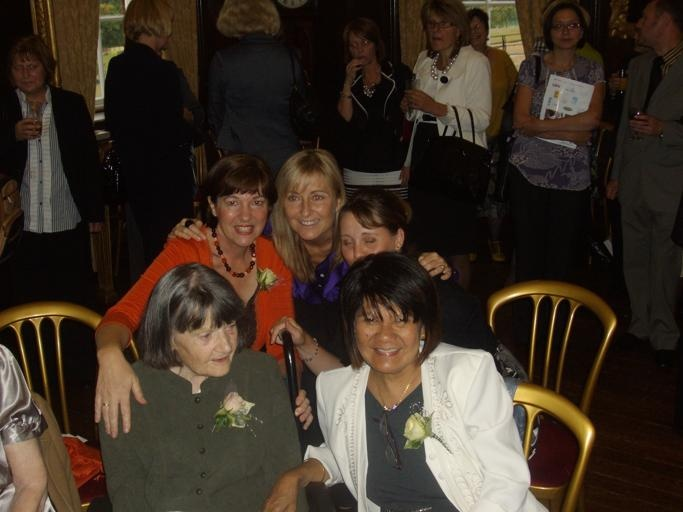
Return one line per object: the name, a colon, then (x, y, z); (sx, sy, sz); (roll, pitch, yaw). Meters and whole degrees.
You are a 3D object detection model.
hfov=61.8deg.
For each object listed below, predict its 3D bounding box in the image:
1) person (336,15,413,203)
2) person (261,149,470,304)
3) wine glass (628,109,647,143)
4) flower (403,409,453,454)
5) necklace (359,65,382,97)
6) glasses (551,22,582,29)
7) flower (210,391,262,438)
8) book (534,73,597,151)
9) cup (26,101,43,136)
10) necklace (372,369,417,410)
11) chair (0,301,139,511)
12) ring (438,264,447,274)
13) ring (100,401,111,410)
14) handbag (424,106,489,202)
person: (0.233, -0.772, 3.936); (0.456, 1.702, 0.440); (-3, -8, 7)
person: (0.129, -0.148, 2.812); (0.746, 0.519, 0.357); (-6, 5, 4)
wine glass: (2.010, -0.900, 3.911); (0.089, 0.202, 0.268); (7, 15, 26)
flower: (0.280, 0.606, 1.907); (0.087, 0.096, 0.136); (-2, 10, -34)
necklace: (0.195, -1.179, 3.887); (0.117, 0.192, 0.054); (-4, -8, 12)
glasses: (1.424, -1.458, 3.603); (0.153, 0.045, 0.030); (4, 14, 14)
flower: (-0.374, 0.554, 2.017); (0.131, 0.143, 0.063); (-9, 33, -41)
book: (1.471, -0.950, 3.740); (0.326, 0.527, 0.049); (15, 13, 18)
cup: (-2.058, -0.927, 3.861); (0.099, 0.228, 0.338); (-7, 16, -27)
necklace: (0.187, 0.474, 2.078); (0.164, 0.131, 0.120); (-20, -8, -30)
chair: (-1.126, 0.549, 2.744); (0.554, 0.871, 0.693); (23, 22, 38)
ring: (0.418, 0.057, 2.312); (0.023, 0.039, 0.013); (6, -9, -3)
ring: (-0.798, 0.507, 1.934); (0.037, 0.024, 0.012); (6, 14, 21)
handbag: (0.731, -0.650, 3.617); (0.408, 0.664, 0.159); (9, 15, 9)
